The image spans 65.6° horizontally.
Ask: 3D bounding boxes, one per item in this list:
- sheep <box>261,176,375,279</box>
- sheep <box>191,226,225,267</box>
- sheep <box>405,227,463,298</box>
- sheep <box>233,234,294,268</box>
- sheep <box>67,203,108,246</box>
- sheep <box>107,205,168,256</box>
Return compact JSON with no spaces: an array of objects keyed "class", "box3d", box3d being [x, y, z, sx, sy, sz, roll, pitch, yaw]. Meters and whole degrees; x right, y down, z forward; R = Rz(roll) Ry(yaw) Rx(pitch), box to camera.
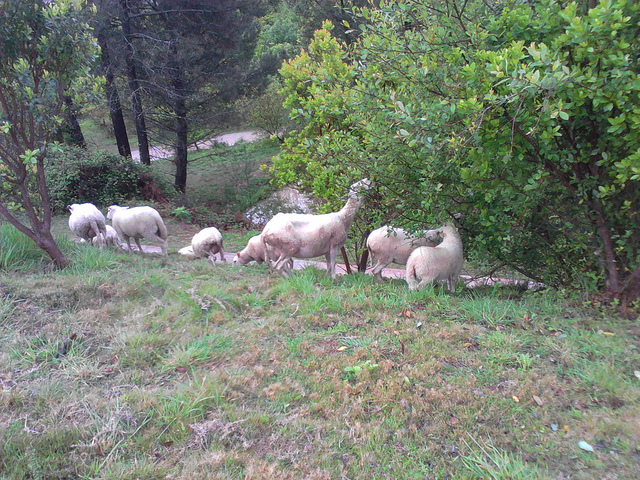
[{"class":"sheep","box3d":[0.013,-0.130,8.563,2.010,1.614,0.668,-5,9,-16]},{"class":"sheep","box3d":[-2.457,0.135,10.875,0.635,0.739,0.785,-5,12,-16]},{"class":"sheep","box3d":[1.917,0.355,7.972,0.495,1.067,1.729,-1,9,43]},{"class":"sheep","box3d":[-1.280,0.326,10.431,1.211,0.681,0.361,-19,-1,26]},{"class":"sheep","box3d":[-4.479,-0.338,9.605,0.452,0.684,1.260,-19,36,-32]},{"class":"sheep","box3d":[-4.001,-0.234,10.855,1.704,1.157,0.624,1,13,26]}]
